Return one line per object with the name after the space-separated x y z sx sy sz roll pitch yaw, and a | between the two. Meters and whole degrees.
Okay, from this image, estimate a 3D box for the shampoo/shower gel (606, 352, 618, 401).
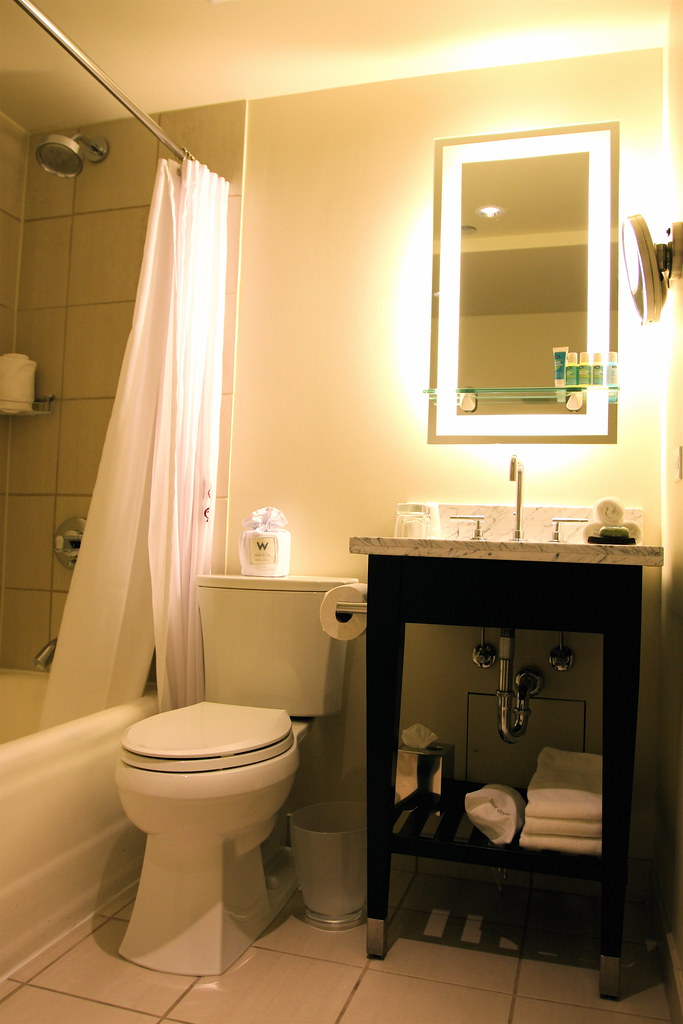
0.654 -0.327 1.882 0.028 0.121 0.067 1 -2 19 | shampoo/shower gel

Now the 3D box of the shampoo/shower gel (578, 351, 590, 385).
0.583 -0.344 1.877 0.029 0.084 0.021 1 -2 6 | shampoo/shower gel

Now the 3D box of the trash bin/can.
-0.030 0.774 1.732 0.182 0.218 0.185 -3 -5 22 | trash bin/can

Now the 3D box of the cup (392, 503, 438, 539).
0.181 0.021 1.861 0.084 0.126 0.090 2 -15 1 | cup

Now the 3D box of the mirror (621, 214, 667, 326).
0.645 -0.531 1.665 0.091 0.222 0.241 0 -2 23 | mirror

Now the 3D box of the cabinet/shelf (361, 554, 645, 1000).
0.339 0.432 1.695 0.490 0.894 0.491 1 13 11 | cabinet/shelf

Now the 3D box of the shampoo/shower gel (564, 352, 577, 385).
0.555 -0.349 1.889 0.030 0.079 0.019 0 -2 26 | shampoo/shower gel

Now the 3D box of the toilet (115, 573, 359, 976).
-0.236 0.509 1.698 0.354 0.701 0.625 2 0 16 | toilet

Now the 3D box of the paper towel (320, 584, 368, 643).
0.004 0.212 1.665 0.109 0.106 0.135 -2 1 20 | paper towel
